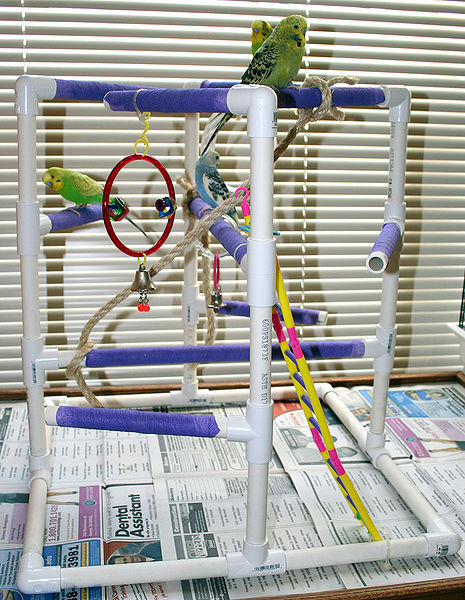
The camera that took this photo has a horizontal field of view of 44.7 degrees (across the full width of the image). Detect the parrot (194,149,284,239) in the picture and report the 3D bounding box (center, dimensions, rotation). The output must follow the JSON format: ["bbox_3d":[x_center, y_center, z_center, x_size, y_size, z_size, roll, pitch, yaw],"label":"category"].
[{"bbox_3d":[-0.031,-0.191,0.909,0.051,0.079,0.096,-24,-57,-1],"label":"parrot"}]

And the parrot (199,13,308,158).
[{"bbox_3d":[0.039,-0.331,0.873,0.120,0.115,0.184,-45,-36,-42],"label":"parrot"}]
